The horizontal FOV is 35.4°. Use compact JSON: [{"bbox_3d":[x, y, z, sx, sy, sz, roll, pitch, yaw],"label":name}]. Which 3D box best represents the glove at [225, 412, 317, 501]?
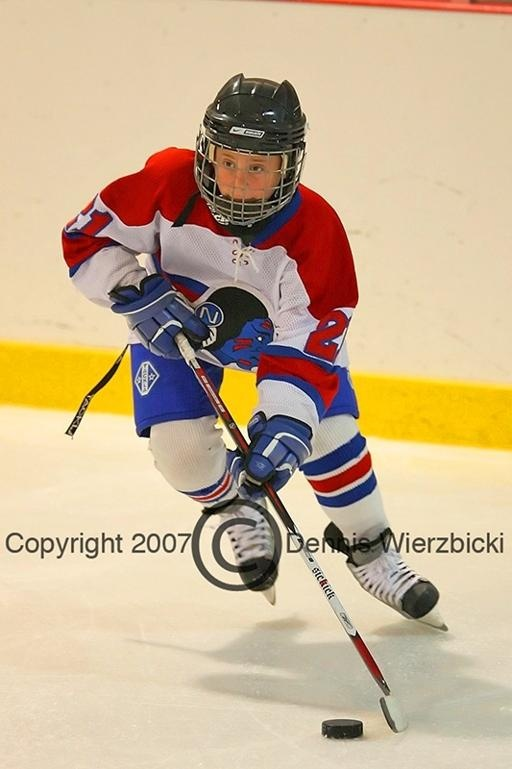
[{"bbox_3d":[0.055,0.122,1.453,0.229,0.148,0.096,-16,-16,30],"label":"glove"}]

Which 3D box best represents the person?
[{"bbox_3d":[0.013,-0.058,1.747,0.620,1.134,0.653,-3,9,-37],"label":"person"}]

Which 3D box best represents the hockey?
[{"bbox_3d":[0.017,0.341,1.716,0.258,0.874,0.048,-35,15,-14],"label":"hockey"}]

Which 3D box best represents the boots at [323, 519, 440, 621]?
[{"bbox_3d":[0.272,0.414,1.844,0.144,0.102,0.343,40,1,-42],"label":"boots"}]

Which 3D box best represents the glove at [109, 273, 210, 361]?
[{"bbox_3d":[-0.203,-0.154,1.769,0.144,0.224,0.090,-42,1,18],"label":"glove"}]
